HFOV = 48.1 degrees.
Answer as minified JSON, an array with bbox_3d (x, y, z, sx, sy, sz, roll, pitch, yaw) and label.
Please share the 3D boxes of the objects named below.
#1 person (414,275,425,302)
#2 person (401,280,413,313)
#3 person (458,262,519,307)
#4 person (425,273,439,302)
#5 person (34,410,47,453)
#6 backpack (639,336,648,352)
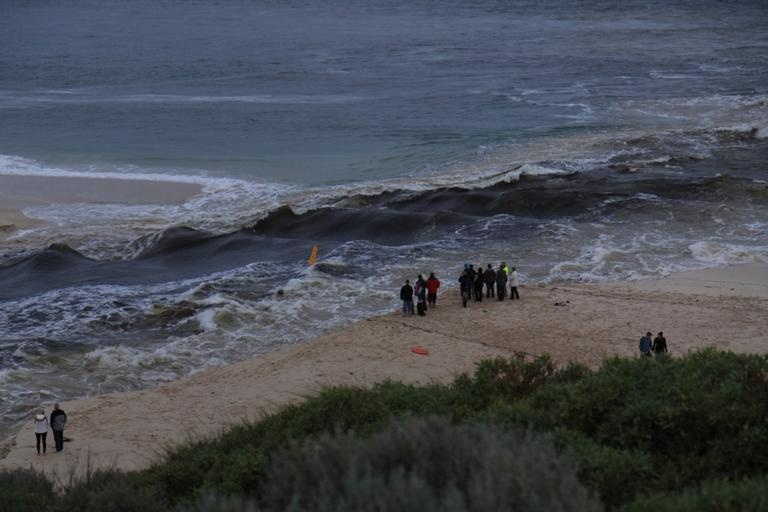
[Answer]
[{"bbox_3d":[1.590,1.423,39.092,0.526,1.236,0.923,-1,1,1],"label":"person"},{"bbox_3d":[1.010,1.816,39.036,0.512,1.562,0.843,-1,2,1],"label":"person"},{"bbox_3d":[5.115,1.158,40.347,1.757,1.701,1.121,0,1,6],"label":"person"},{"bbox_3d":[2.162,1.470,39.433,0.551,1.448,0.443,0,2,8],"label":"person"},{"bbox_3d":[-13.098,6.711,33.011,0.517,1.582,0.707,-1,2,-19],"label":"person"},{"bbox_3d":[10.516,3.550,35.006,0.323,0.676,0.462,0,1,5],"label":"backpack"}]
